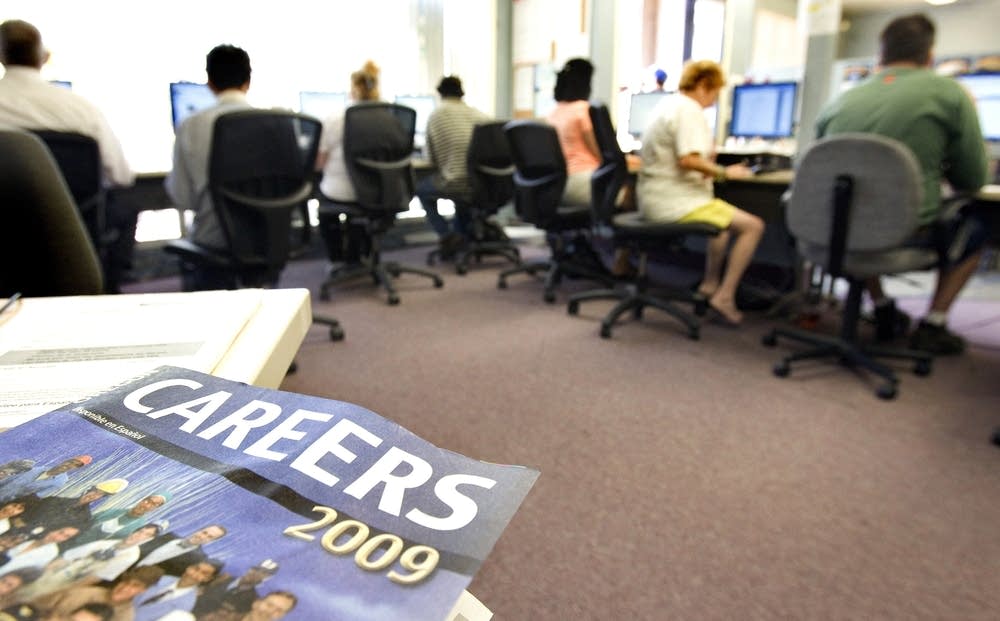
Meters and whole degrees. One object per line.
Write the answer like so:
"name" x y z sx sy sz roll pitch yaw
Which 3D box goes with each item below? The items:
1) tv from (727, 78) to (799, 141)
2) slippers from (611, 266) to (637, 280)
"tv" 1.555 -1.176 3.994 0.523 0.410 0.058 17 23 40
"slippers" 0.776 -0.225 4.268 0.130 0.084 0.138 5 7 31
